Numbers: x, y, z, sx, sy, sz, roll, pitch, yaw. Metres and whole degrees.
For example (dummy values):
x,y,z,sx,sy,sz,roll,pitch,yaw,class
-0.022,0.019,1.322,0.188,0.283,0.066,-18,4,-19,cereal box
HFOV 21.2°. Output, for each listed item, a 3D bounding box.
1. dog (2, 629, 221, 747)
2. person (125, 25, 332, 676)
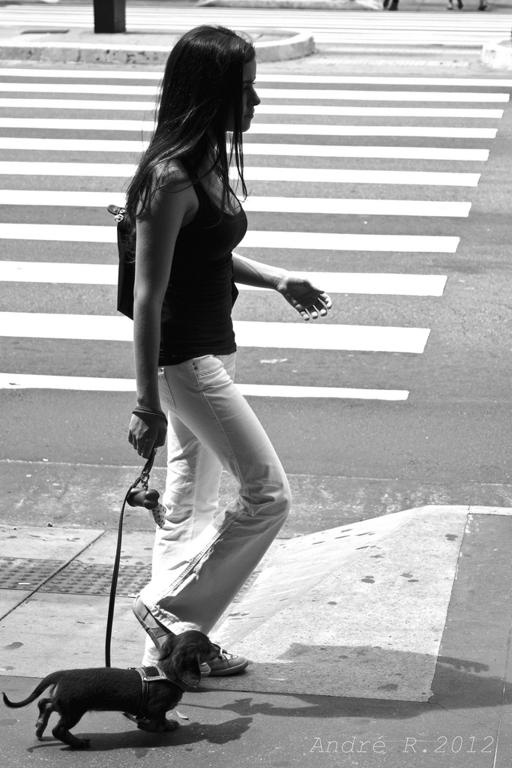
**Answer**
x,y,z,sx,sy,sz,roll,pitch,yaw,class
-0.378,0.874,3.831,0.541,0.341,0.199,3,11,-10,dog
-0.166,-0.068,4.182,0.561,1.981,0.841,4,11,-6,person
